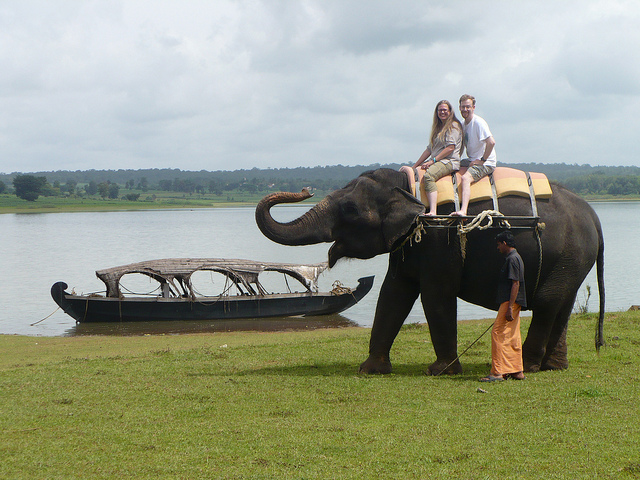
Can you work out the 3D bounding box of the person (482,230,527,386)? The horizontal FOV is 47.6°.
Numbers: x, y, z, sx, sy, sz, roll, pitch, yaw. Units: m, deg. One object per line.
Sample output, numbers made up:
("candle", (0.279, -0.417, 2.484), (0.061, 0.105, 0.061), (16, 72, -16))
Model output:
("person", (3.080, 1.109, 12.009), (0.581, 2.453, 0.441), (0, 6, 13))
